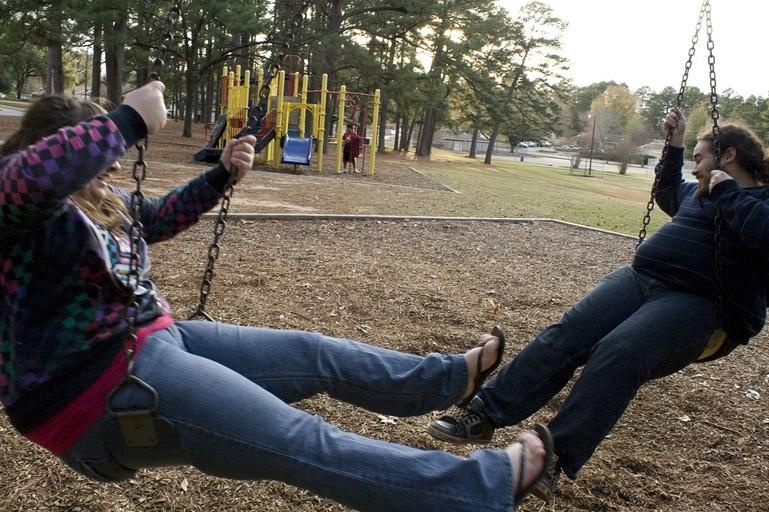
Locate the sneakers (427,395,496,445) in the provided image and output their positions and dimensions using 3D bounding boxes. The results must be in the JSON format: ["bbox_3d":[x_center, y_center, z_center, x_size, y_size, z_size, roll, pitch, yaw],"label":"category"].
[{"bbox_3d":[0.398,0.849,3.406,0.464,0.218,0.180,7,-5,-5],"label":"sneakers"}]

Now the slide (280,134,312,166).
[{"bbox_3d":[-2.082,-2.564,15.816,0.687,0.792,0.296,6,-8,-12],"label":"slide"}]

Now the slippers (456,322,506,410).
[{"bbox_3d":[0.466,0.480,2.889,0.118,0.399,0.166,25,-1,-19],"label":"slippers"}]
